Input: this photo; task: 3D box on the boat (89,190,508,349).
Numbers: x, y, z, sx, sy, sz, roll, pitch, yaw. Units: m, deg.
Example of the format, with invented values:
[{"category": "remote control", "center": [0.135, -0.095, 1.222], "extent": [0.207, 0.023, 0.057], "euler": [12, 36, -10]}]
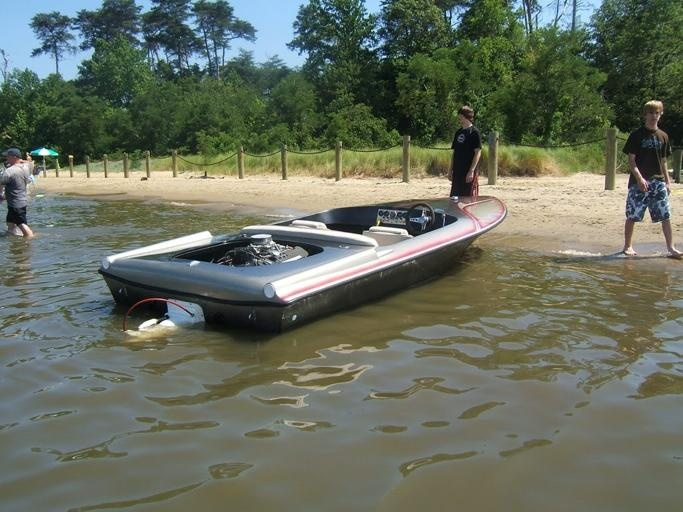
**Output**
[{"category": "boat", "center": [0.145, -0.065, 6.537], "extent": [4.687, 0.570, 1.730], "euler": [-9, 13, -40]}]

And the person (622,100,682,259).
[{"category": "person", "center": [3.708, -0.892, 7.737], "extent": [0.685, 1.868, 0.427], "euler": [2, 19, 18]}]

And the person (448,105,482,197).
[{"category": "person", "center": [1.625, -1.369, 8.556], "extent": [0.397, 1.196, 0.803], "euler": [-1, 16, 9]}]
